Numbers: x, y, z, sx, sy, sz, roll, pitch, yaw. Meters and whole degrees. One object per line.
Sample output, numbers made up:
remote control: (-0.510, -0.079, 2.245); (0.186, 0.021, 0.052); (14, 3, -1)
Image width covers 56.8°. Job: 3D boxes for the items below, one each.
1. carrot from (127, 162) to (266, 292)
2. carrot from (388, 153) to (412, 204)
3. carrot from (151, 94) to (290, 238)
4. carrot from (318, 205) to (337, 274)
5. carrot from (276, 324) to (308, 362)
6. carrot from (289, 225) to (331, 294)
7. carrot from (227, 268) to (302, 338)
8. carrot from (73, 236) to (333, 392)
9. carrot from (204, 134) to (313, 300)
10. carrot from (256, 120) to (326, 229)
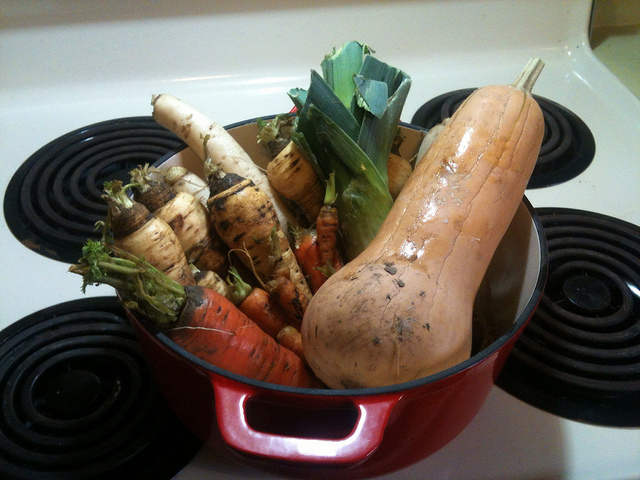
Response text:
carrot: (-0.254, -0.018, 1.204); (0.278, 0.081, 0.076); (44, 31, 2)
carrot: (0.169, -0.140, 1.345); (0.047, 0.094, 0.074); (0, 21, 2)
carrot: (-0.239, -0.216, 1.357); (0.353, 0.098, 0.075); (29, 18, -15)
carrot: (0.015, -0.012, 1.284); (0.030, 0.163, 0.036); (6, 13, 8)
carrot: (-0.061, 0.207, 1.237); (0.042, 0.033, 0.090); (-29, 80, -20)
carrot: (-0.025, 0.040, 1.316); (0.051, 0.048, 0.185); (-23, 88, -4)
carrot: (-0.114, 0.133, 1.223); (0.153, 0.046, 0.042); (42, 98, -5)
carrot: (-0.237, 0.154, 1.142); (0.465, 0.116, 0.118); (32, 97, -12)
carrot: (-0.135, -0.043, 1.268); (0.369, 0.097, 0.113); (50, 56, -14)
carrot: (-0.063, -0.145, 1.313); (0.236, 0.074, 0.071); (53, 51, -9)
